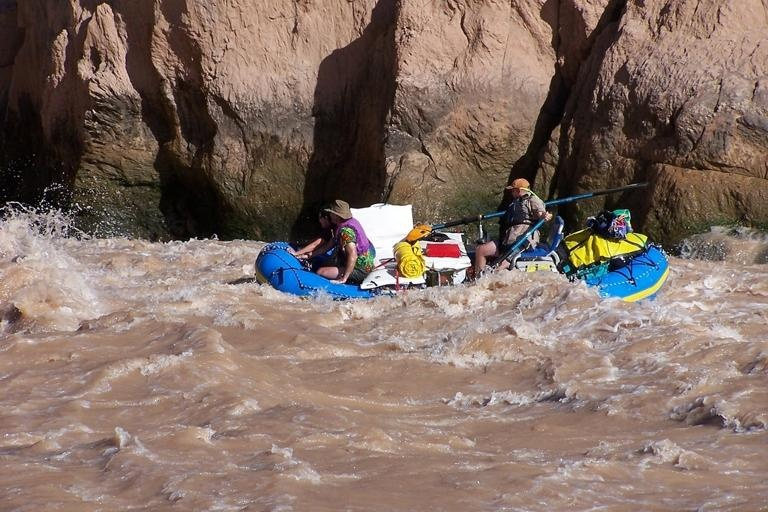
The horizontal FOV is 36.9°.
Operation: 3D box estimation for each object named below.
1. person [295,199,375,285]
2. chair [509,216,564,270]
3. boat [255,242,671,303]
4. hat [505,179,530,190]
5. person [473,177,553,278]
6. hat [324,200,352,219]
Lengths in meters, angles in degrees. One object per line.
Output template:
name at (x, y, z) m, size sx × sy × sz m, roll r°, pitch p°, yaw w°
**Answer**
person at (-0.614, -0.074, 16.608) m, size 1.035 × 1.418 × 1.154 m, roll 4°, pitch 0°, yaw -26°
chair at (2.064, -0.190, 16.058) m, size 0.782 × 0.904 × 0.649 m, roll 2°, pitch 5°, yaw 2°
boat at (0.983, 0.249, 15.943) m, size 5.698 × 0.657 × 0.704 m, roll 1°, pitch 14°, yaw 5°
hat at (1.940, -1.044, 16.593) m, size 0.361 × 0.198 × 0.265 m, roll 9°, pitch -1°, yaw 6°
person at (1.945, -0.423, 17.119) m, size 0.702 × 1.189 × 1.297 m, roll 14°, pitch -13°, yaw -9°
hat at (-0.656, -0.655, 16.345) m, size 0.314 × 0.125 × 0.271 m, roll 28°, pitch 18°, yaw 25°
